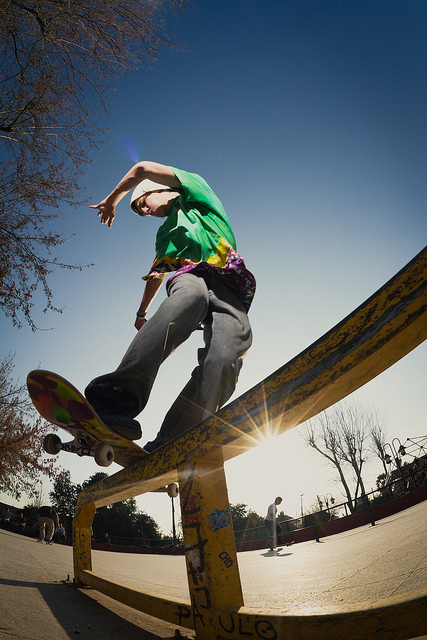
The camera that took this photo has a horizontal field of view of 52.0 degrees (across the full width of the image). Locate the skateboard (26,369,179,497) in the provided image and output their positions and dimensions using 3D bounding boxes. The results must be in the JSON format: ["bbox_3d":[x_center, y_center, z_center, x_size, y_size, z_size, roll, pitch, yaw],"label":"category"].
[{"bbox_3d":[-0.580,0.450,1.941,0.485,0.392,0.569,5,-25,-22],"label":"skateboard"}]

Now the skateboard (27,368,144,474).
[{"bbox_3d":[-0.500,0.395,1.826,0.227,0.139,0.787,-11,-50,28],"label":"skateboard"}]

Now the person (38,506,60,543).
[{"bbox_3d":[-3.948,4.766,10.328,0.355,0.768,0.925,4,-24,-20],"label":"person"}]
